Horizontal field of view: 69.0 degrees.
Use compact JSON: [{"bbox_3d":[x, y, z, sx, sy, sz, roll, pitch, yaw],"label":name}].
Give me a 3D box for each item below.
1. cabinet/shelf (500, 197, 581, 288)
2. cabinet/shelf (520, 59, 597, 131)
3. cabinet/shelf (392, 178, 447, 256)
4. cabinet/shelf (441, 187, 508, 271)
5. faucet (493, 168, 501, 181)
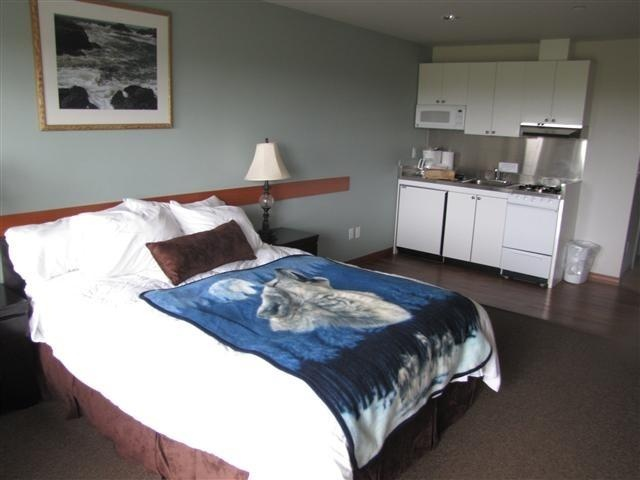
[{"bbox_3d":[2.685,-0.082,5.711,0.715,1.122,0.813,12,19,33],"label":"cabinet/shelf"},{"bbox_3d":[2.696,-1.677,5.506,0.733,0.819,0.269,4,6,3],"label":"cabinet/shelf"},{"bbox_3d":[1.596,-0.301,6.523,0.952,1.048,0.905,9,14,25],"label":"cabinet/shelf"},{"bbox_3d":[1.963,-0.166,5.838,0.813,1.058,0.593,15,22,42],"label":"cabinet/shelf"},{"bbox_3d":[2.367,-0.883,6.219,0.103,0.140,0.052,3,-6,7],"label":"faucet"}]
